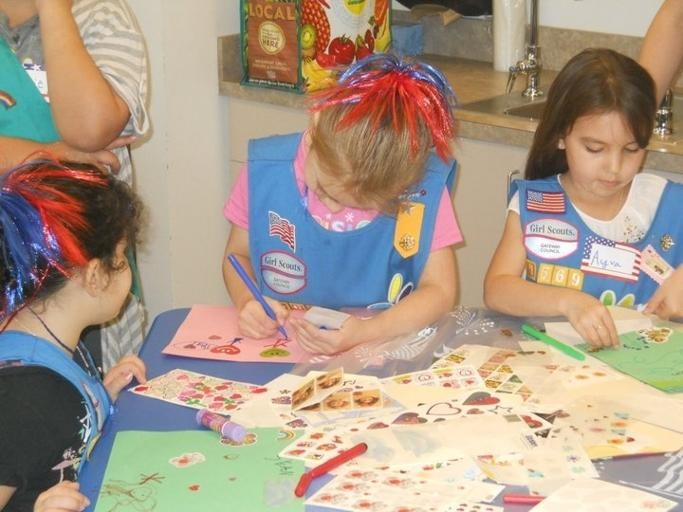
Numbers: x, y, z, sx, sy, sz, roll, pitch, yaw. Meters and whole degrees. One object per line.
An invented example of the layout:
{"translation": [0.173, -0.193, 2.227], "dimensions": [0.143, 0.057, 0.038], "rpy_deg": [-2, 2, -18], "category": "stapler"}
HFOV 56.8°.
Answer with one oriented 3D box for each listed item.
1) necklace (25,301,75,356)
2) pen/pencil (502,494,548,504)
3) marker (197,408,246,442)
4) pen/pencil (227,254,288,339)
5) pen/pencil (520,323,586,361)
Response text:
{"translation": [-0.522, 0.126, 1.153], "dimensions": [0.021, 0.079, 0.080], "rpy_deg": [-32, -4, -3], "category": "necklace"}
{"translation": [0.251, 0.337, 0.879], "dimensions": [0.035, 0.008, 0.021], "rpy_deg": [1, 8, 3], "category": "pen/pencil"}
{"translation": [-0.197, 0.266, 1.055], "dimensions": [0.090, 0.036, 0.035], "rpy_deg": [23, 60, 34], "category": "marker"}
{"translation": [-0.194, 0.090, 1.437], "dimensions": [0.211, 0.021, 0.021], "rpy_deg": [55, 24, 21], "category": "pen/pencil"}
{"translation": [0.412, 0.169, 1.231], "dimensions": [0.015, 0.021, 0.127], "rpy_deg": [16, 9, -47], "category": "pen/pencil"}
